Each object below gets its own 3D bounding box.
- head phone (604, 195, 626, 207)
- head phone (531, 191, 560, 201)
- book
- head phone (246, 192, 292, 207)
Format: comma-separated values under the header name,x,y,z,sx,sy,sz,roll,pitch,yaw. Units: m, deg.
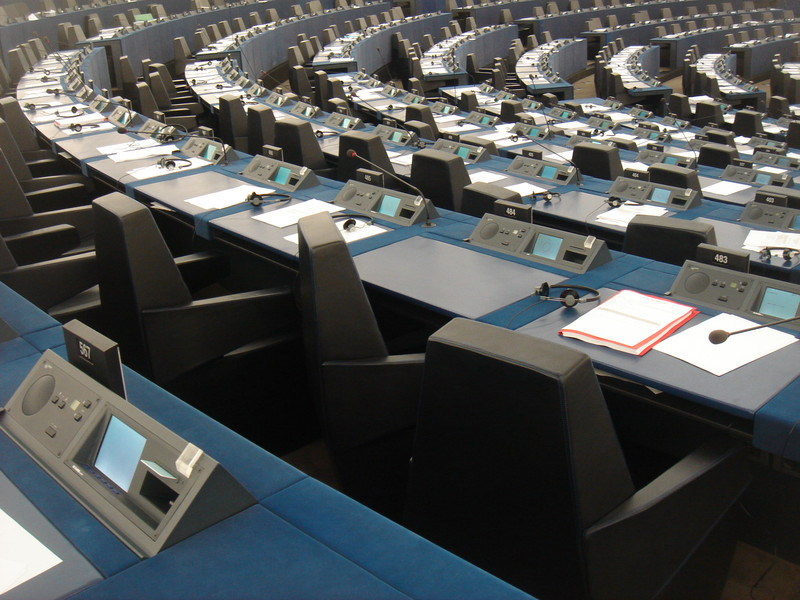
name,x,y,z,sx,sy,sz,roll,pitch,yaw
head phone,1.372,-0.633,3.505,0.099,0.041,0.095,5,18,22
head phone,0.955,-0.691,3.608,0.158,0.067,0.104,0,16,5
book,0.763,0.077,1.839,0.389,0.038,0.287,-21,24,-32
head phone,-0.771,-0.593,3.177,0.174,0.050,0.128,-6,15,-22
